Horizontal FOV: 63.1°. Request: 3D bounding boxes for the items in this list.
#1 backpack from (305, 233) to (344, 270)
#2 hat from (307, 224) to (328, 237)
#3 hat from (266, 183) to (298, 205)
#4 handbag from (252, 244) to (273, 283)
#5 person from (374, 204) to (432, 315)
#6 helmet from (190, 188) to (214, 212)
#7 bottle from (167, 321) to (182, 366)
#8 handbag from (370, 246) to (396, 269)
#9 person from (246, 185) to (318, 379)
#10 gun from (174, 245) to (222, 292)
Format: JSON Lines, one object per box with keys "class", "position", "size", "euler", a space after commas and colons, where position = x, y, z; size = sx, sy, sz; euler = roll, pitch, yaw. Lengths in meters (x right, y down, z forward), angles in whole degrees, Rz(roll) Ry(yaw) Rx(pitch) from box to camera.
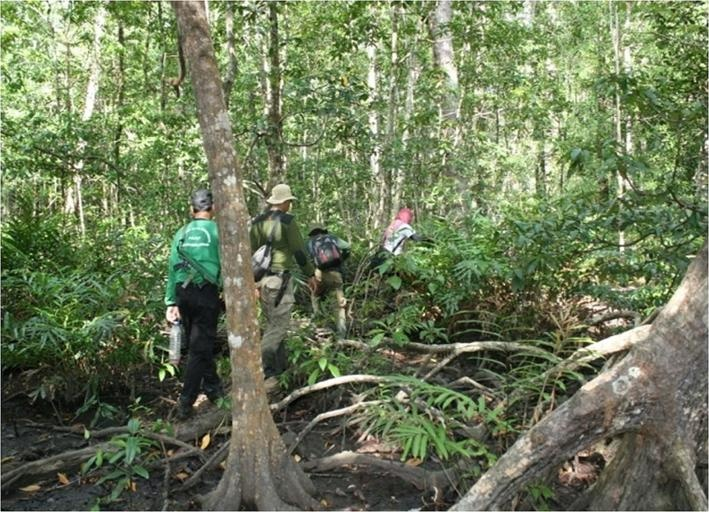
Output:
{"class": "backpack", "position": [-0.494, -0.061, 9.791], "size": [0.438, 0.340, 0.581], "euler": [-9, 52, -22]}
{"class": "hat", "position": [-0.649, -0.461, 10.387], "size": [0.216, 0.137, 0.257], "euler": [-17, -16, 11]}
{"class": "hat", "position": [-1.032, -0.912, 8.599], "size": [0.341, 0.208, 0.382], "euler": [4, 6, 42]}
{"class": "handbag", "position": [-1.335, 0.106, 8.336], "size": [0.231, 0.556, 0.155], "euler": [2, 5, 14]}
{"class": "person", "position": [0.817, -0.320, 10.245], "size": [1.023, 1.110, 1.288], "euler": [1, 4, -1]}
{"class": "helmet", "position": [-2.001, -0.791, 7.898], "size": [0.295, 0.397, 0.393], "euler": [-1, 10, -1]}
{"class": "bottle", "position": [-2.356, 1.159, 7.627], "size": [0.140, 0.597, 0.371], "euler": [-1, 5, -16]}
{"class": "handbag", "position": [0.466, 0.045, 10.082], "size": [0.279, 0.391, 0.648], "euler": [-1, 4, -18]}
{"class": "person", "position": [-1.091, 0.376, 8.493], "size": [0.839, 2.859, 0.486], "euler": [0, 5, -11]}
{"class": "gun", "position": [-2.051, 0.133, 7.657], "size": [0.564, 0.531, 0.244], "euler": [0, 5, -15]}
